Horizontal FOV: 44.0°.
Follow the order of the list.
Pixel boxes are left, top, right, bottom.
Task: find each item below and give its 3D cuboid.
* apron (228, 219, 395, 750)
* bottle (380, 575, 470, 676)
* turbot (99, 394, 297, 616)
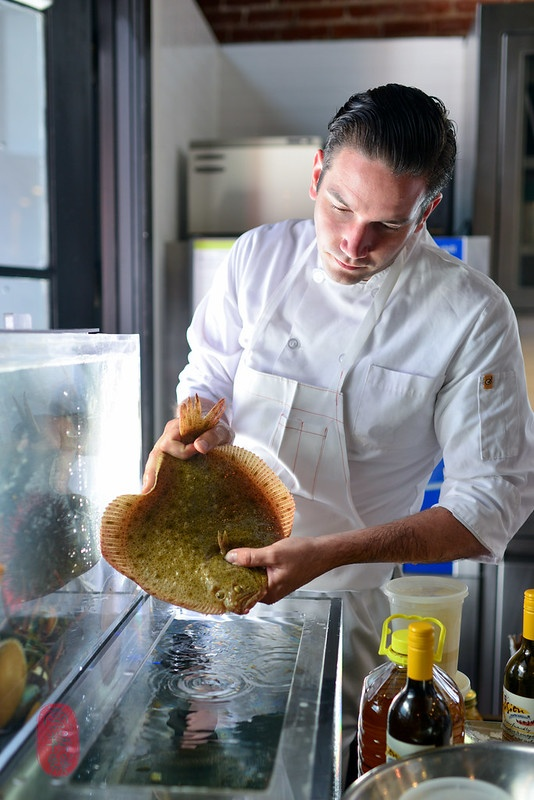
[{"bbox_3d":[0.079,0.099,1.254,0.388,0.767,0.238,0,-1,-3],"label":"apron"},{"bbox_3d":[0.207,0.308,0.859,0.103,0.138,0.102,-4,-1,0],"label":"bottle"},{"bbox_3d":[-0.068,0.131,0.807,0.198,0.257,0.060,38,-36,-9],"label":"turbot"}]
